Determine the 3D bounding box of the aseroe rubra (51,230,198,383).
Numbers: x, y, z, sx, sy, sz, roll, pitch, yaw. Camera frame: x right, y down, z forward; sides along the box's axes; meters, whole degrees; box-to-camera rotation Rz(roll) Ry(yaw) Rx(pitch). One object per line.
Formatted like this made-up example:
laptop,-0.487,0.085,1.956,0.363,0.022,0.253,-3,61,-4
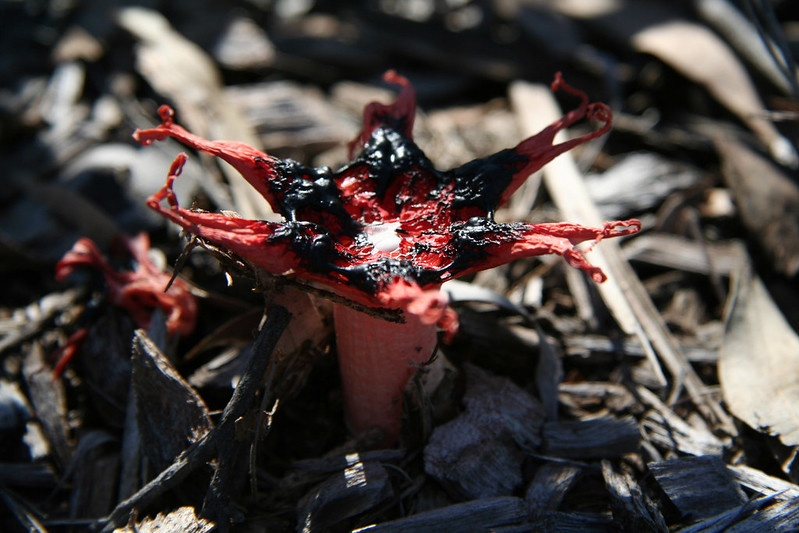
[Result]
aseroe rubra,-0.910,0.101,4.377,0.488,0.188,0.470,-24,73,-29

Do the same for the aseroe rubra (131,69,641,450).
aseroe rubra,-0.007,-0.008,4.158,1.244,0.976,1.551,27,52,35
